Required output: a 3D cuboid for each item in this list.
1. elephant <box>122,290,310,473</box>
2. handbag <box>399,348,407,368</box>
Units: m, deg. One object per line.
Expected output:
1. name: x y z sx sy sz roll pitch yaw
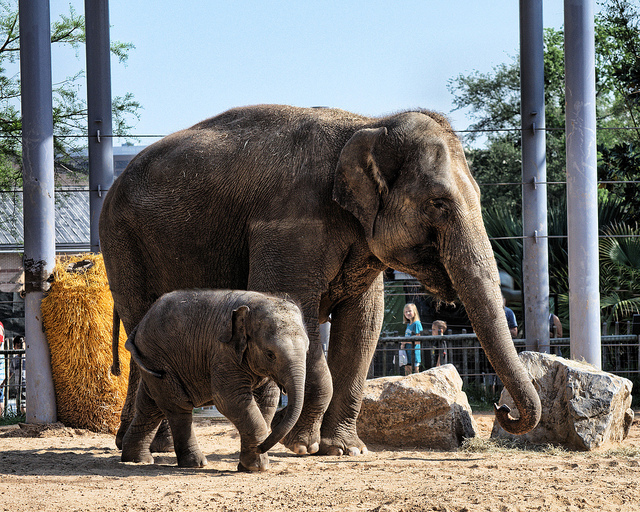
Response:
1. elephant: -1.029 1.223 13.544 2.027 1.699 0.907 -1 0 24
2. handbag: 1.115 1.377 18.802 0.155 0.224 0.192 0 35 0
